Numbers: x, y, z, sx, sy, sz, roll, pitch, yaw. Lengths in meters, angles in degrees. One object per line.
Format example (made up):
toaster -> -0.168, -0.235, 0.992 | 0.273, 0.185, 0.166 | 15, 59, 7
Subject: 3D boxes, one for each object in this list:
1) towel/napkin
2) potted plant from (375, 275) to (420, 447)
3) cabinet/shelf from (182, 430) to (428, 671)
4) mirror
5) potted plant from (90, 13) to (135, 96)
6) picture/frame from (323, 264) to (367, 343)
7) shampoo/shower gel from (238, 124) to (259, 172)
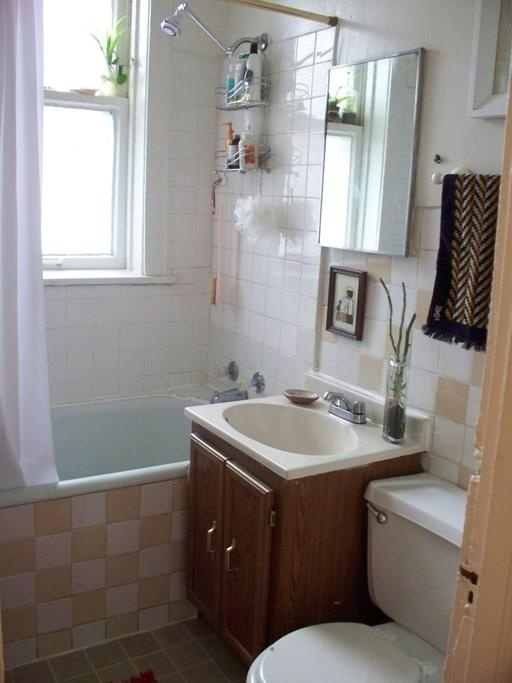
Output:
towel/napkin -> 0.582, -0.220, 1.506 | 0.052, 0.475, 0.222 | -3, 15, -23
potted plant -> 0.460, 0.055, 1.796 | 0.107, 0.490, 0.287 | 4, 14, 5
cabinet/shelf -> 0.065, 0.583, 2.054 | 0.639, 1.063, 0.717 | -1, 8, -22
mirror -> 0.383, -0.647, 1.884 | 0.045, 0.650, 0.511 | -4, 16, -27
potted plant -> -0.774, -1.530, 2.869 | 0.205, 0.393, 0.119 | -2, 14, -20
picture/frame -> 0.342, -0.144, 2.039 | 0.027, 0.309, 0.226 | -1, 13, -23
shampoo/shower gel -> -0.037, -0.895, 2.505 | 0.088, 0.180, 0.072 | 2, 13, -1
